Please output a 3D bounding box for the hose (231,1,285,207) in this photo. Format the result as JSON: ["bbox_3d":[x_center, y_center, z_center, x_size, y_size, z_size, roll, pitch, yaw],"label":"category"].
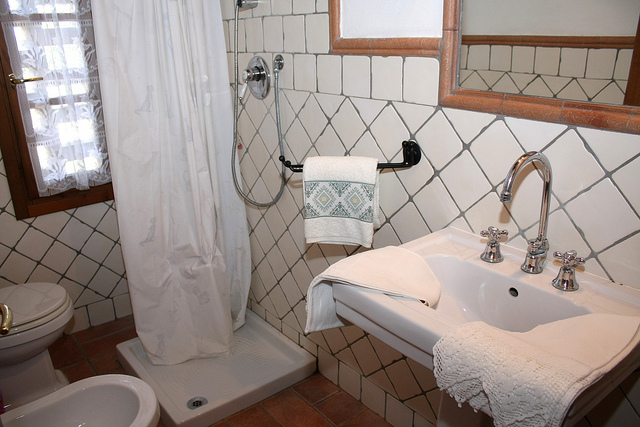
[{"bbox_3d":[-0.318,-0.509,2.281,0.154,1.133,0.280,-18,29,-34],"label":"hose"}]

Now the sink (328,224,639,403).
[{"bbox_3d":[0.560,0.296,1.391,0.792,0.272,0.666,22,32,39],"label":"sink"}]
